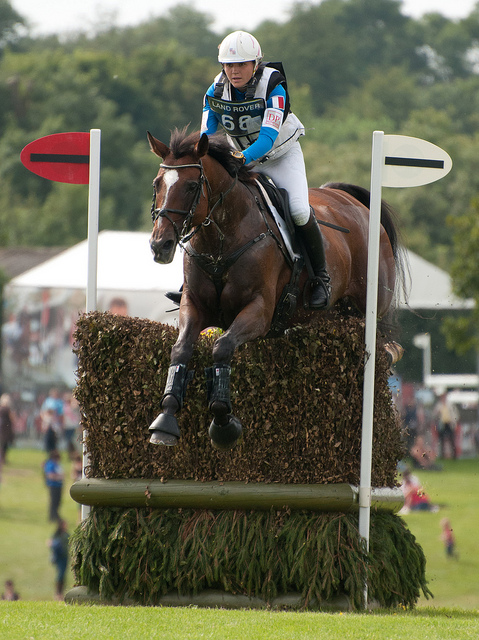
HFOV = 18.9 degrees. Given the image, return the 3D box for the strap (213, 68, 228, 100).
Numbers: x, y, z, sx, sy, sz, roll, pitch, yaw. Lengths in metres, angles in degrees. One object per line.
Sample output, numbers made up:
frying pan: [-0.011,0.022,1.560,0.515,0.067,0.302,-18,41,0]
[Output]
strap: [-0.151,-1.738,10.559,0.066,0.203,0.138,15,-24,-24]

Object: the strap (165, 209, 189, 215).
strap: [-0.445,-0.754,9.949,0.164,0.021,0.021,3,3,-31]

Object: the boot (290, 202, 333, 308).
boot: [0.532,-0.495,10.842,0.256,0.753,0.216,-12,6,-2]

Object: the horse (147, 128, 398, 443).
horse: [0.315,-0.190,11.252,0.850,2.275,3.582,-1,0,31]

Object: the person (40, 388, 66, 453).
person: [-2.452,1.354,18.519,0.320,1.027,0.315,7,24,-3]

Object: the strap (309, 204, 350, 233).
strap: [0.714,-0.772,11.417,0.290,0.061,0.170,32,11,-17]
